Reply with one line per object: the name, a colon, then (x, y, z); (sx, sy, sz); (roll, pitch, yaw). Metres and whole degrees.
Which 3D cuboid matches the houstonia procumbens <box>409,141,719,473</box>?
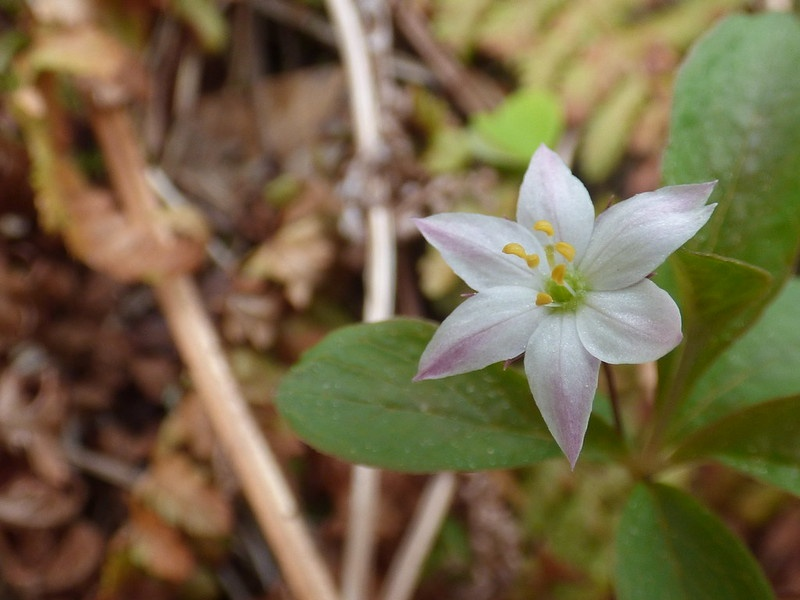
houstonia procumbens: (0.190, -0.013, 1.247); (0.368, 0.274, 0.313); (16, 42, 18)
